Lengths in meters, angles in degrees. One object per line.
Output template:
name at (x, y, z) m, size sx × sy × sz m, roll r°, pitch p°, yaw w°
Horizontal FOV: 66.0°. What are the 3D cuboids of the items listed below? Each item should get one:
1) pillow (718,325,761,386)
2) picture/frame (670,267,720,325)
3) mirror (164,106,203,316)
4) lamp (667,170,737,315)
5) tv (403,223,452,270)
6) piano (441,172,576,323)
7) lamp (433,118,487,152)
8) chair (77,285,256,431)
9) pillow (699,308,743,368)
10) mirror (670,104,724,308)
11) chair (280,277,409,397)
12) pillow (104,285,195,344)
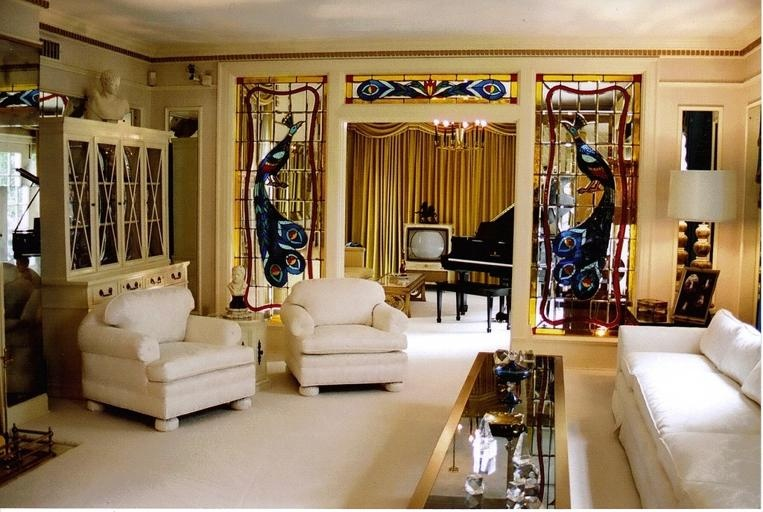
pillow at (2.808, 0.771, 4.581) m, size 0.159 × 0.403 × 0.389 m, roll 21°, pitch 21°, yaw 1°
picture/frame at (3.272, 0.420, 6.089) m, size 0.065 × 0.656 × 0.471 m, roll 22°, pitch -3°, yaw -33°
mirror at (-2.573, -0.614, 7.599) m, size 0.408 × 1.849 × 0.243 m, roll 7°, pitch -3°, yaw 8°
lamp at (3.355, -0.261, 6.228) m, size 0.493 × 1.117 × 0.491 m, roll -1°, pitch 3°, yaw -33°
tv at (0.860, -0.243, 10.772) m, size 0.868 × 0.828 × 0.628 m, roll 1°, pitch 18°, yaw 2°
piano at (1.767, 0.090, 9.062) m, size 1.542 × 1.662 × 1.327 m, roll 4°, pitch -7°, yaw 29°
lamp at (1.377, -2.044, 10.024) m, size 0.857 × 0.476 × 1.680 m, roll 3°, pitch 10°, yaw 9°
chair at (-1.998, 0.901, 5.632) m, size 1.495 × 1.040 × 1.545 m, roll 5°, pitch 2°, yaw -3°
pillow at (2.900, 0.718, 5.029) m, size 0.148 × 0.313 × 0.416 m, roll 29°, pitch -1°, yaw 3°
mirror at (3.620, -0.327, 6.624) m, size 0.336 × 1.319 × 0.342 m, roll 3°, pitch 15°, yaw 45°
chair at (-0.365, 0.822, 6.234) m, size 1.434 × 1.011 × 1.533 m, roll 5°, pitch 5°, yaw 35°
pillow at (-2.182, 0.623, 5.679) m, size 0.372 × 0.567 × 1.034 m, roll -4°, pitch -5°, yaw 39°
